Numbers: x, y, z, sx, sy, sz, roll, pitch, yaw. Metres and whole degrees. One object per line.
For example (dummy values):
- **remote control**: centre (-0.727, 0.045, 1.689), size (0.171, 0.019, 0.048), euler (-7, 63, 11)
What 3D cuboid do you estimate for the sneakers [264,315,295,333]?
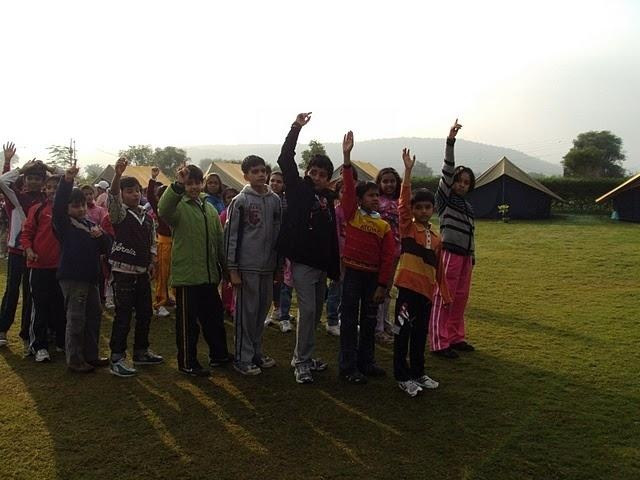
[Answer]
- **sneakers**: centre (-0.613, 1.271, 6.508), size (0.190, 0.249, 0.553), euler (-2, 1, -43)

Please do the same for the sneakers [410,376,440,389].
- **sneakers**: centre (1.084, 1.434, 4.396), size (0.257, 0.122, 0.105), euler (1, 1, 21)

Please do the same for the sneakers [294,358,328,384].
- **sneakers**: centre (-0.101, 1.411, 4.698), size (0.148, 0.208, 0.459), euler (10, 13, 34)

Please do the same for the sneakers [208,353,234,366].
- **sneakers**: centre (-1.150, 1.394, 5.076), size (0.333, 0.150, 0.117), euler (-5, 10, -41)

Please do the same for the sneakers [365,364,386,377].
- **sneakers**: centre (0.612, 1.446, 4.780), size (0.255, 0.118, 0.105), euler (-1, 0, 9)

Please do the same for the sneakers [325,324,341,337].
- **sneakers**: centre (0.192, 1.289, 6.149), size (0.219, 0.097, 0.109), euler (-2, -2, 30)

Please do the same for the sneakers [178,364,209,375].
- **sneakers**: centre (-1.381, 1.403, 4.726), size (0.346, 0.158, 0.137), euler (0, 0, -1)

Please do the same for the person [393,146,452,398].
- **person**: centre (1.022, 0.444, 4.414), size (0.467, 2.132, 0.664), euler (2, 5, 15)

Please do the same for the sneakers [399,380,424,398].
- **sneakers**: centre (0.907, 1.474, 4.283), size (0.098, 0.106, 0.255), euler (-12, 1, -32)

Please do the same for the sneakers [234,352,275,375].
- **sneakers**: centre (-0.741, 1.378, 4.811), size (0.378, 0.168, 0.203), euler (-4, 3, 7)
